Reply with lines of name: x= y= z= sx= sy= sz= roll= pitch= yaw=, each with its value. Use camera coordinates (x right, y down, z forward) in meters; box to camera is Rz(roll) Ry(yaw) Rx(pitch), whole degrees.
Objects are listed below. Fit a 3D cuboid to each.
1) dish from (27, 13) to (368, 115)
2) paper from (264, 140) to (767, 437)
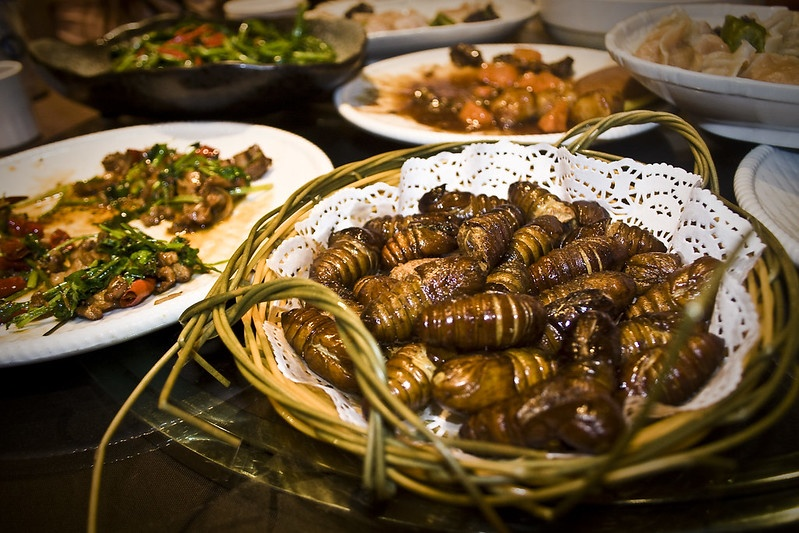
dish: x=-0.708 y=-0.834 z=2.925 sx=1.344 sy=0.261 sz=1.027 roll=2 pitch=4 yaw=18
paper: x=0.243 y=0.067 z=1.926 sx=0.933 sy=0.198 sz=0.921 roll=-25 pitch=20 yaw=-26
